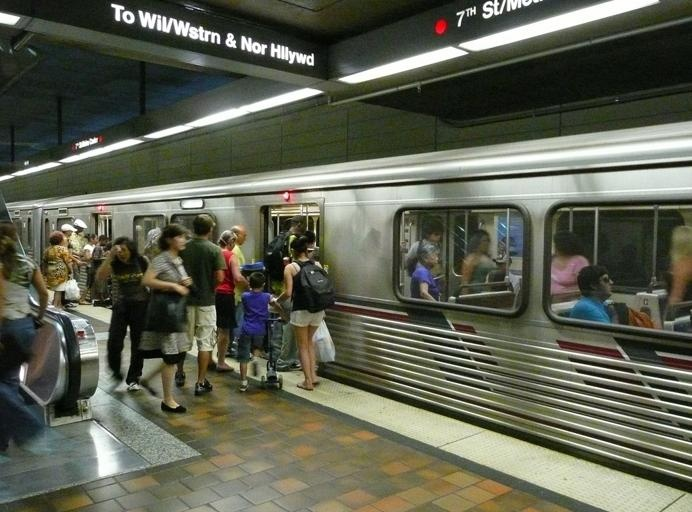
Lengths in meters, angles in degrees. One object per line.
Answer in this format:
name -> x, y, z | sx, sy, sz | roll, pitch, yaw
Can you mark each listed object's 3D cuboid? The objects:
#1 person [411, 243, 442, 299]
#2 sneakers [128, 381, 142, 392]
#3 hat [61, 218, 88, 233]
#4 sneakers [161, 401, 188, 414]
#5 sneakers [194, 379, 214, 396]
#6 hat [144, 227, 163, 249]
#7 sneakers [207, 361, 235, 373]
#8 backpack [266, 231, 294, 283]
person -> 0.915, 0.174, 5.675 | 0.293, 0.689, 0.514 | -5, 13, -16
sneakers -> -2.557, 1.580, 6.111 | 0.103, 0.087, 0.121 | -3, -10, -38
hat -> -6.900, -0.735, 12.816 | 0.684, 0.213, 0.446 | -4, -1, 12
sneakers -> -1.857, 1.645, 5.504 | 0.297, 0.107, 0.105 | 1, 0, -2
sneakers -> -1.693, 1.570, 6.071 | 0.100, 0.117, 0.276 | 5, 3, 19
hat -> -3.467, -0.338, 9.116 | 0.295, 0.501, 0.377 | 19, -3, -22
sneakers -> -1.660, 1.524, 6.917 | 0.444, 0.169, 0.130 | -2, 5, -19
backpack -> -0.921, 0.036, 6.814 | 0.637, 0.589, 0.439 | -1, 5, -4
